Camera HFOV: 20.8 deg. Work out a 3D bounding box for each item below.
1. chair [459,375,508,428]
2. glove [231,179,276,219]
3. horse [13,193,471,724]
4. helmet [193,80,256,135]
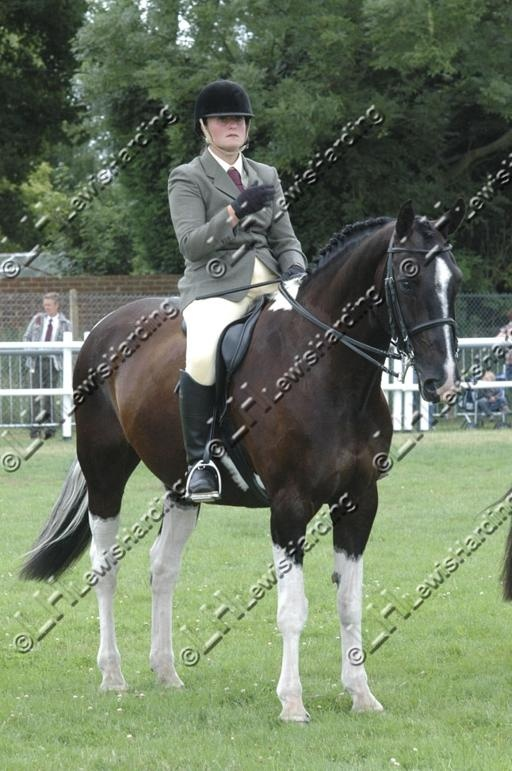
[{"bbox_3d":[2.807,0.184,17.303,0.944,0.532,0.625,1,12,4],"label":"chair"},{"bbox_3d":[-0.038,-1.107,8.245,0.321,0.113,0.095,-37,-26,25],"label":"glove"},{"bbox_3d":[-0.170,0.569,9.011,1.150,3.022,4.583,4,-4,-37],"label":"horse"},{"bbox_3d":[-0.209,-1.724,8.522,0.348,0.276,0.226,-1,9,-3],"label":"helmet"}]
